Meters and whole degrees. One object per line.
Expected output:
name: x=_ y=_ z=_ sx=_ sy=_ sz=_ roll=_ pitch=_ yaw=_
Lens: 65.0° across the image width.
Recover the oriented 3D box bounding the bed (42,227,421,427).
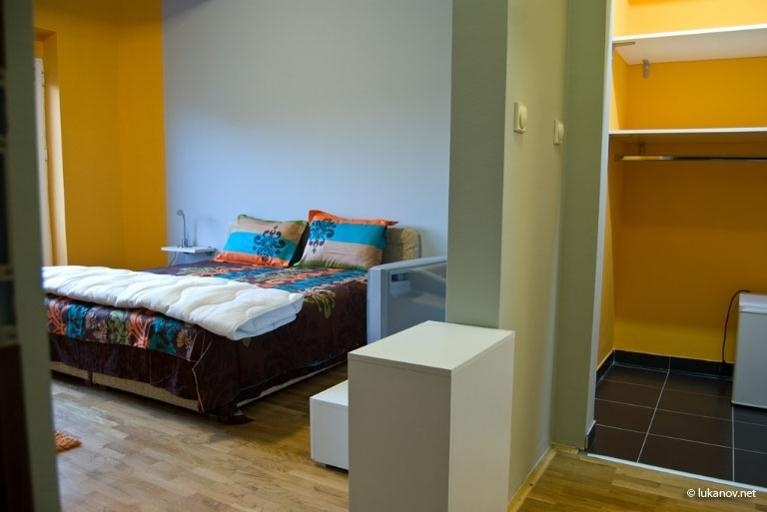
bed: x=-1.324 y=0.270 z=4.653 sx=2.135 sy=0.905 sz=2.178 roll=11 pitch=6 yaw=24
